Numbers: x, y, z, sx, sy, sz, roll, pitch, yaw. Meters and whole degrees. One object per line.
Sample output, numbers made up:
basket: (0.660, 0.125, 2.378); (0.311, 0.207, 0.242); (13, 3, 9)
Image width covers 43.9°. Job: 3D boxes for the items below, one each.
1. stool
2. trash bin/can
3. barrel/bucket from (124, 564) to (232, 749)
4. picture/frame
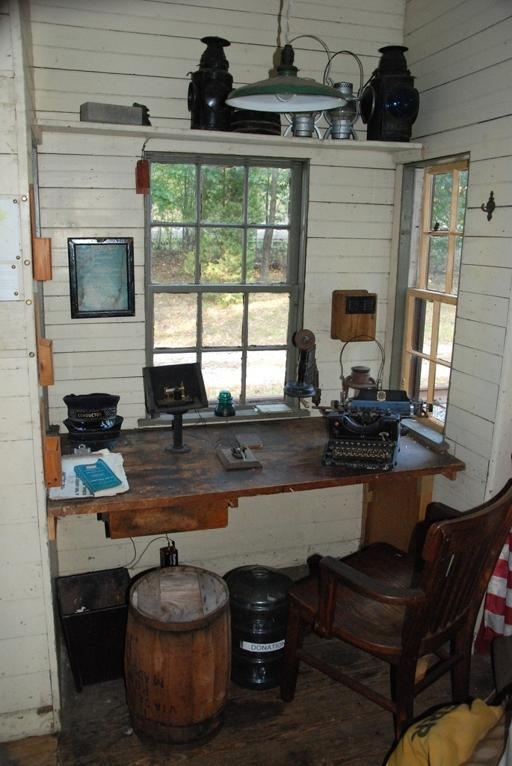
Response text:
stool: (-0.683, 1.076, 2.768); (0.293, 0.377, 0.317); (-2, 15, -6)
trash bin/can: (-0.620, 1.104, 2.770); (0.383, 0.391, 0.366); (-22, -23, 38)
barrel/bucket: (-0.278, 0.993, 2.311); (0.394, 0.513, 0.378); (2, 13, 0)
picture/frame: (-0.728, -0.504, 2.930); (0.396, 0.448, 0.034); (-3, 13, -28)
